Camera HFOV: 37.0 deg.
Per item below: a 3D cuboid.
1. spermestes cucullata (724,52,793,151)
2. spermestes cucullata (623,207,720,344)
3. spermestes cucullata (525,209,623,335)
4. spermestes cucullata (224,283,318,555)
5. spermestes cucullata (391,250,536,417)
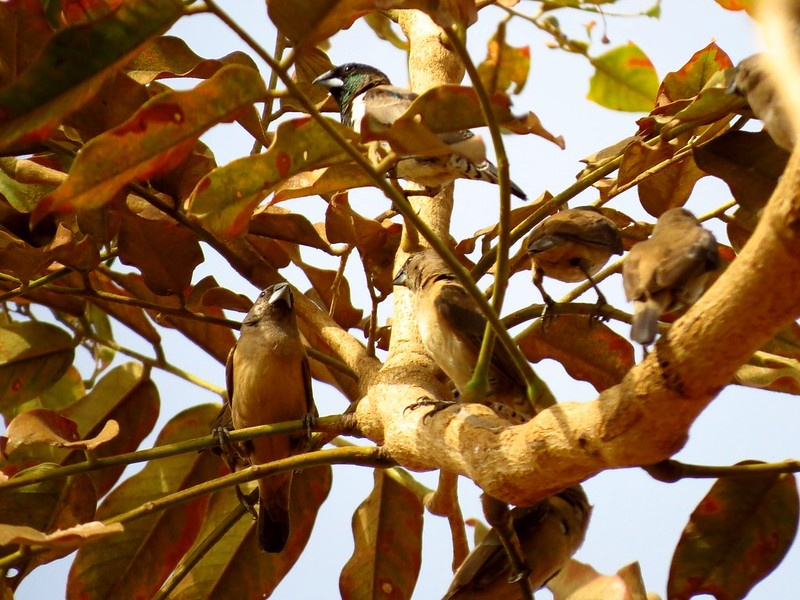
[{"bbox_3d":[1.122,-0.633,3.756,0.134,0.483,0.144,-24,-59,18],"label":"spermestes cucullata"},{"bbox_3d":[0.901,-0.069,3.926,0.199,0.426,0.422,-19,-42,23],"label":"spermestes cucullata"},{"bbox_3d":[0.667,-0.132,4.571,0.230,0.369,0.478,-14,-39,22],"label":"spermestes cucullata"},{"bbox_3d":[-0.504,0.505,4.598,0.306,0.547,1.037,1,-75,-6],"label":"spermestes cucullata"},{"bbox_3d":[0.278,0.139,4.752,0.668,0.688,0.332,7,-24,-8],"label":"spermestes cucullata"}]
